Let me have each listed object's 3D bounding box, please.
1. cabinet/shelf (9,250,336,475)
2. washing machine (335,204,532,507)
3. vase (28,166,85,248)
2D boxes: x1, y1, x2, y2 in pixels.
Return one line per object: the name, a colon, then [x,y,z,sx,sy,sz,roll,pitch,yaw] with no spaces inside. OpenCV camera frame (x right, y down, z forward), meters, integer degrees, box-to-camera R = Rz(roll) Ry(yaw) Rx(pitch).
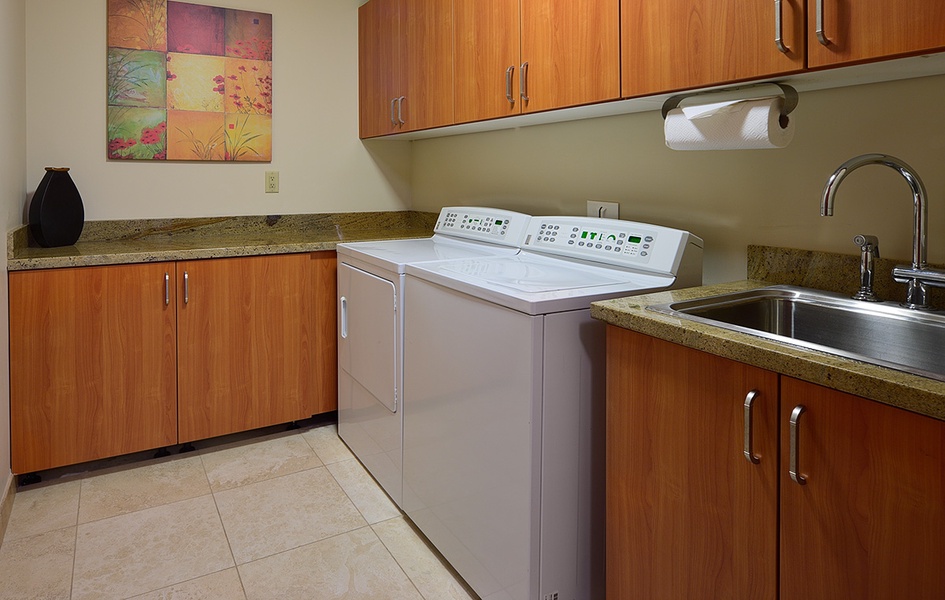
cabinet/shelf: [-1.531,0.323,3.196,1.784,0.992,0.860,-3,12,-30]
washing machine: [-0.184,0.157,3.417,1.181,1.341,0.965,-4,9,-28]
vase: [-2.144,-0.481,3.184,0.141,0.415,0.249,16,19,16]
